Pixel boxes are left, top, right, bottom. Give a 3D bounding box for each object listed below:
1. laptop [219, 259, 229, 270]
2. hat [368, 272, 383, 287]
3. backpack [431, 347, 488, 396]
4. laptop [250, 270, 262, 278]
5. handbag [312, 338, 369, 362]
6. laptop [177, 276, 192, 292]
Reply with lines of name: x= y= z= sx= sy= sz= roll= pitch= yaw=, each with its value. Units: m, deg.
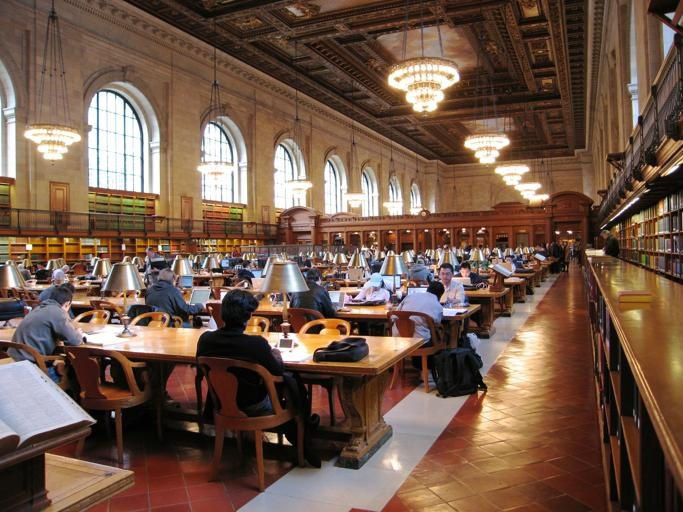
laptop: x=-3.334 y=0.215 z=14.534 sx=0.248 sy=0.343 sz=0.464 roll=-1 pitch=-2 yaw=-4
hat: x=0.480 y=0.330 z=7.357 sx=0.143 sy=0.114 sz=0.208 roll=3 pitch=14 yaw=14
backpack: x=1.253 y=1.257 z=5.618 sx=0.522 sy=0.512 sz=0.387 roll=2 pitch=-7 yaw=-23
laptop: x=-1.947 y=0.394 z=11.508 sx=0.185 sy=0.182 sz=0.189 roll=1 pitch=1 yaw=17
handbag: x=-0.015 y=0.710 z=3.905 sx=0.411 sy=0.134 sz=0.282 roll=-1 pitch=3 yaw=-14
laptop: x=-3.185 y=0.546 z=10.401 sx=0.315 sy=0.276 sz=0.266 roll=1 pitch=-1 yaw=-2
